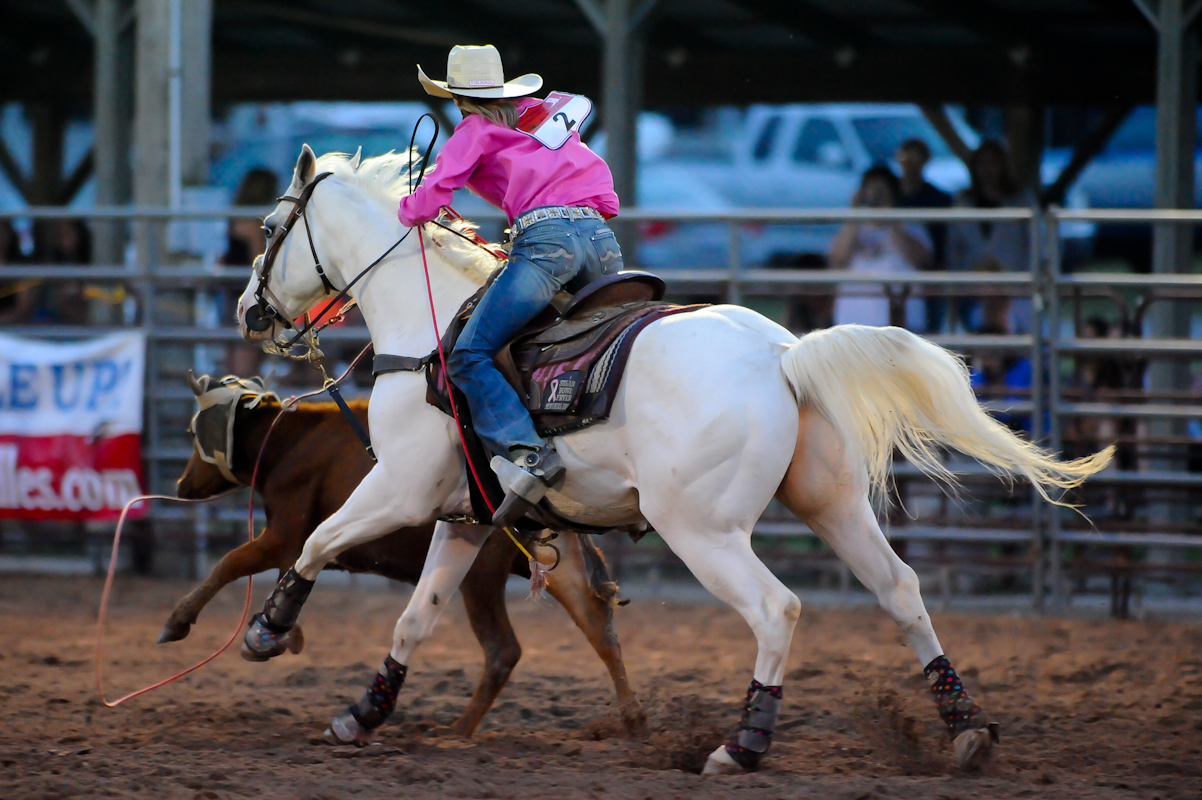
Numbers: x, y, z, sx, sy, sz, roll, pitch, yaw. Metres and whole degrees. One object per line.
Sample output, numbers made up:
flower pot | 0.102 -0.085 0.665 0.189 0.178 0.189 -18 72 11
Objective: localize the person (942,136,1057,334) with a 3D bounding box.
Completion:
person | 3.074 -1.252 19.228 0.567 1.857 1.101 0 13 14

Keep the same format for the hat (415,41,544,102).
hat | -0.897 -2.265 16.394 0.599 0.193 0.501 10 17 39

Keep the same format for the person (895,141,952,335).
person | 2.616 -1.367 19.127 0.413 1.491 0.878 -6 11 -5

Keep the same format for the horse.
horse | 0.105 0.404 16.801 6.992 3.992 1.409 5 2 31

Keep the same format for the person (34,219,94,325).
person | -4.569 -1.072 20.161 0.493 0.991 0.850 -4 14 -13

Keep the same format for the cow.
cow | -1.538 1.147 17.215 4.404 2.360 0.972 10 2 24
